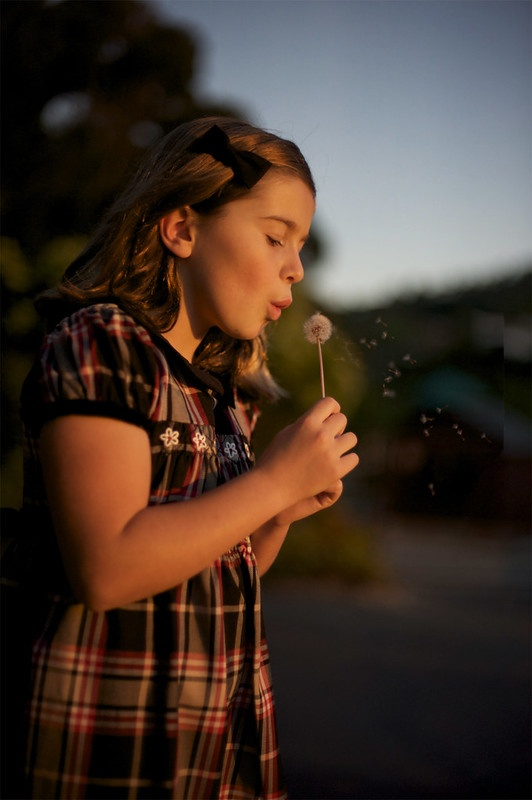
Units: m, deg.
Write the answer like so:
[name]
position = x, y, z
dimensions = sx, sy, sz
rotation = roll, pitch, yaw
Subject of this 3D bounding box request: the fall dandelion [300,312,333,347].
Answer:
[fall dandelion]
position = 0.127, -0.169, 2.029
dimensions = 0.087, 0.082, 0.081
rotation = 3, -14, -13
